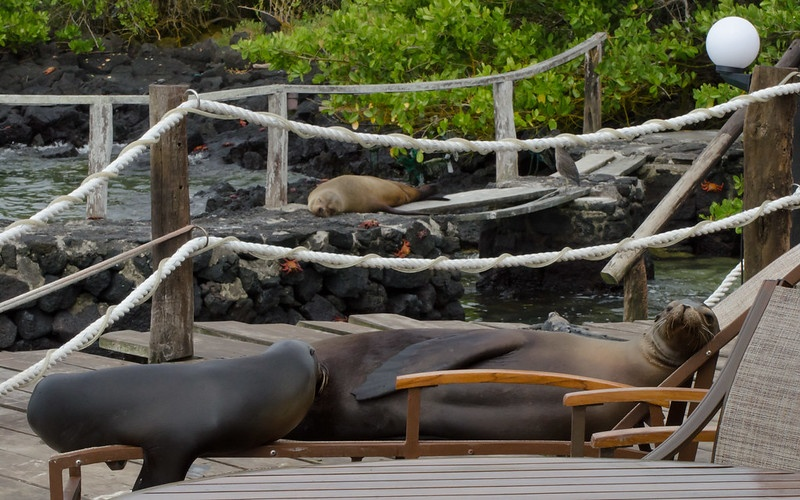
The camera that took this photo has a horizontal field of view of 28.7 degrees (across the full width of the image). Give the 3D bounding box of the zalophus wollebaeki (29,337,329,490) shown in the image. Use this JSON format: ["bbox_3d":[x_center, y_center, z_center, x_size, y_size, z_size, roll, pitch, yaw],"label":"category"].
[{"bbox_3d":[-2.718,1.999,19.007,2.945,0.657,1.796,-4,28,-3],"label":"zalophus wollebaeki"}]

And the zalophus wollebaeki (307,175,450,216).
[{"bbox_3d":[-0.444,-0.918,25.350,2.227,0.577,0.836,-6,13,-37],"label":"zalophus wollebaeki"}]
